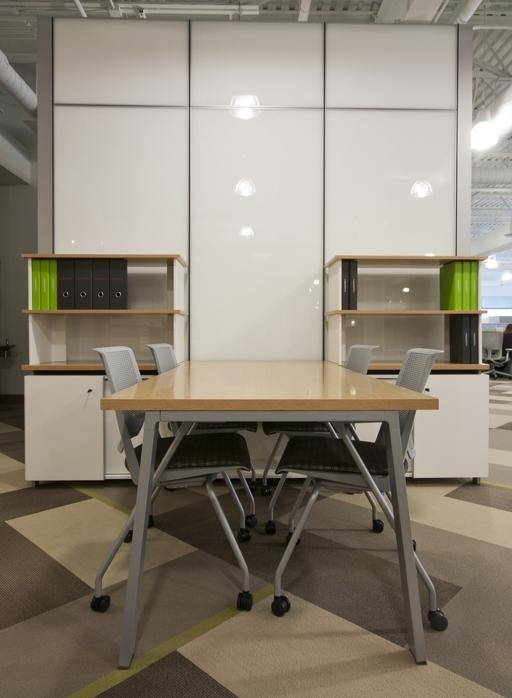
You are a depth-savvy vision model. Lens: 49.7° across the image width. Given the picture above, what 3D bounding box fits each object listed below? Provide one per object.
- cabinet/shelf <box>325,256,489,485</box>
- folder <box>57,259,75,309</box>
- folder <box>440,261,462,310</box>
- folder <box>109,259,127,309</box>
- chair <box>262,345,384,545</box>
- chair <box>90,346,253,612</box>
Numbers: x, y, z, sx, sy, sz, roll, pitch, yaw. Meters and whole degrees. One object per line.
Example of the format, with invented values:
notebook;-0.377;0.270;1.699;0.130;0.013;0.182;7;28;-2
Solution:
cabinet/shelf;0.919;0.096;3.508;0.911;1.339;0.510;1;0;4
folder;-1.130;-0.398;3.279;0.093;0.295;0.280;1;-1;-9
folder;1.203;-0.394;3.394;0.092;0.248;0.264;-1;12;3
folder;-0.827;-0.391;3.290;0.096;0.306;0.289;0;0;-5
chair;0.339;0.485;2.542;0.441;0.592;0.465;0;17;-8
chair;-0.279;0.429;2.453;0.802;1.183;0.802;0;-1;-1
